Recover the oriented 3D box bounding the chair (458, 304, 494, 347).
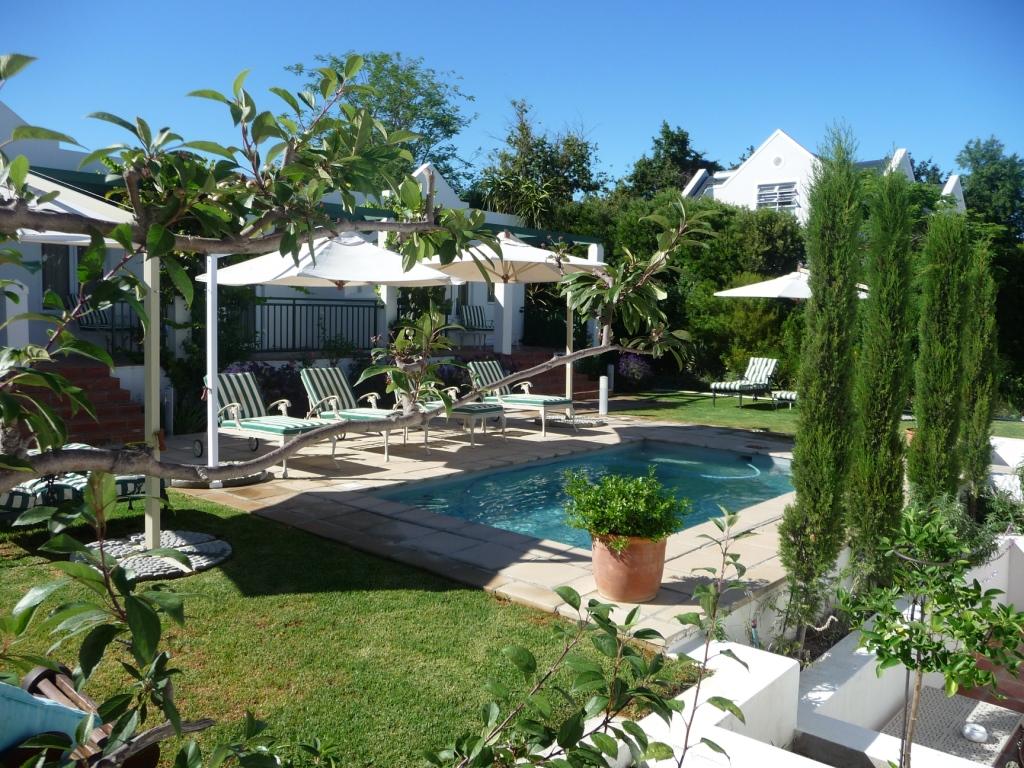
[{"bbox_3d":[-1.148,-1.881,23.540,1.070,1.202,2.270,-1,8,-2],"label":"chair"}]

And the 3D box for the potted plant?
[{"bbox_3d":[0.913,1.324,6.256,0.976,0.810,0.674,0,-4,9],"label":"potted plant"}]

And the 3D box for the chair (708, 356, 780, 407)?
[{"bbox_3d":[6.040,-0.153,19.549,1.777,1.026,1.128,-4,5,-43],"label":"chair"}]
